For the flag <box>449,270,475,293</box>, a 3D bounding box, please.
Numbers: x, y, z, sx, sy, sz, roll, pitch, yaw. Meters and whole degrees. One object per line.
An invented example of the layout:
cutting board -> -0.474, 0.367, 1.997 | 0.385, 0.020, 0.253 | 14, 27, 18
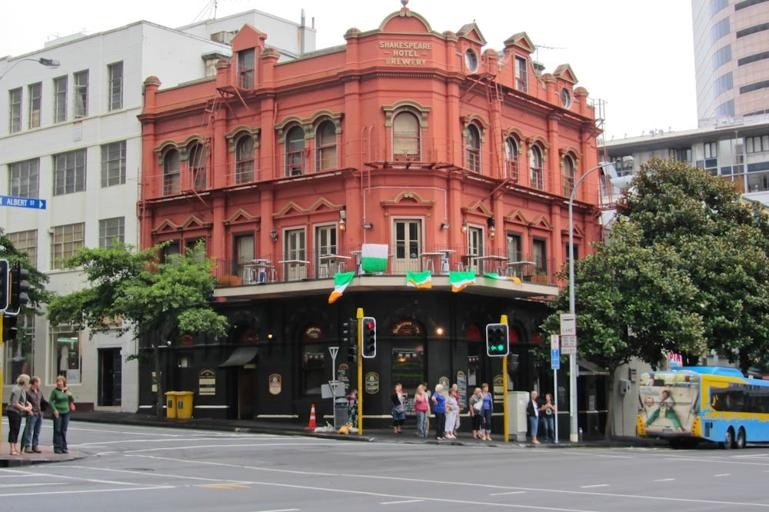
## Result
flag -> 3.956, 1.236, 61.076 | 1.087, 1.101, 0.402 | 3, -22, -14

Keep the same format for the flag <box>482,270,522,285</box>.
flag -> 6.326, 1.179, 63.250 | 2.021, 0.363, 0.853 | 14, -7, -37

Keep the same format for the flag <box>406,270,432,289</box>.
flag -> 1.793, 1.249, 61.083 | 0.987, 0.751, 0.128 | 1, -27, 2

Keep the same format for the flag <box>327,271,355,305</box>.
flag -> -2.197, 1.435, 61.063 | 1.155, 0.311, 2.376 | -11, -54, -14

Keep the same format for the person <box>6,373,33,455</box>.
person -> -14.411, 6.267, 46.432 | 0.999, 3.168, 1.023 | 4, -3, -26

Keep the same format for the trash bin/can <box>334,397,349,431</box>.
trash bin/can -> -2.108, 7.711, 57.675 | 0.635, 1.487, 0.765 | -1, -12, 0

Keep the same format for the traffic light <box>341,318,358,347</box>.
traffic light -> -1.629, 3.755, 57.034 | 0.623, 1.354, 0.960 | -1, -12, 1

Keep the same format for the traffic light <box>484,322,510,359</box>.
traffic light -> 5.362, 3.990, 56.045 | 0.946, 1.589, 0.797 | -4, -12, 14

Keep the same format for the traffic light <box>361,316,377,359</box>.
traffic light -> -0.775, 3.861, 56.584 | 0.670, 2.000, 1.359 | -2, -12, 7

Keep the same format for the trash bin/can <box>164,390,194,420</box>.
trash bin/can -> -11.541, 8.362, 66.092 | 1.465, 1.618, 1.141 | 0, -12, -3
